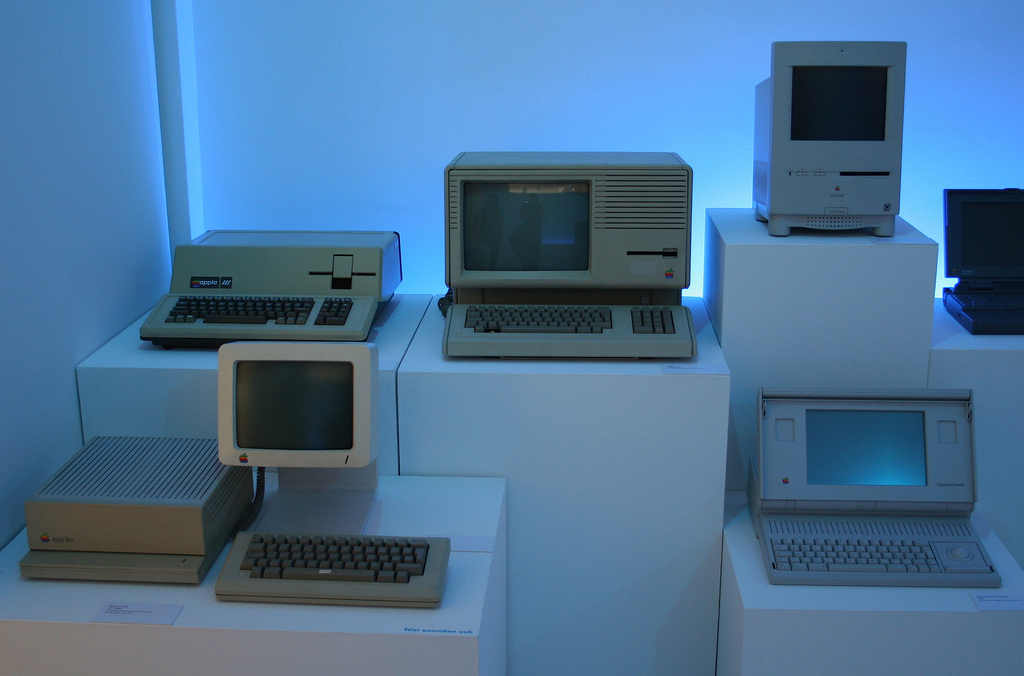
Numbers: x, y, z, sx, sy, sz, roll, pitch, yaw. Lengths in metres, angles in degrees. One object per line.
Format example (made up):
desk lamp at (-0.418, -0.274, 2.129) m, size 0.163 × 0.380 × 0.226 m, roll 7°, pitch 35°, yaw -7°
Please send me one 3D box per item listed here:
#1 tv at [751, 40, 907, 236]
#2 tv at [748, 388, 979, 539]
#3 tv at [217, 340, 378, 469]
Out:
tv at (1.128, -0.672, 3.017) m, size 0.469 × 0.643 × 0.622 m, roll 1°, pitch 6°, yaw 5°
tv at (1.179, 0.356, 2.813) m, size 0.662 × 0.423 × 0.368 m, roll -1°, pitch 2°, yaw 15°
tv at (-0.673, 0.175, 2.470) m, size 0.455 × 0.346 × 0.256 m, roll 1°, pitch 10°, yaw -9°
